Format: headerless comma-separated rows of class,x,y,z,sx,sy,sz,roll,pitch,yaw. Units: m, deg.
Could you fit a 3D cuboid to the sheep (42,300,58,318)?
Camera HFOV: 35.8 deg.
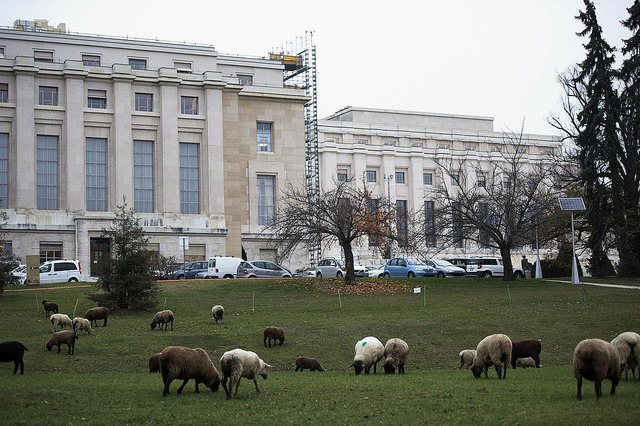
sheep,-17.914,6.331,65.599,0.888,1.141,1.425,0,-7,-15

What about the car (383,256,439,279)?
car,8.158,5.014,92.575,2.293,1.542,3.734,4,-11,-40

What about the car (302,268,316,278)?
car,-1.111,5.811,98.139,1.192,0.844,2.032,0,-7,-12

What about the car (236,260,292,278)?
car,-5.378,5.178,89.719,3.307,1.364,2.010,-2,-2,-14

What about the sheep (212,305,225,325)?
sheep,-6.643,6.583,64.188,0.653,1.231,1.070,-1,-7,-7

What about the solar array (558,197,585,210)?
solar array,22.636,-0.864,88.712,2.678,1.155,1.190,3,-8,-33

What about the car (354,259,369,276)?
car,4.616,6.079,111.889,2.158,1.501,4.595,0,-9,-1

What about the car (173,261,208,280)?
car,-11.940,5.329,92.078,2.823,1.416,1.706,2,-5,-4

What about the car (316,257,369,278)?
car,1.088,5.374,96.482,2.417,1.773,3.950,6,-11,-44

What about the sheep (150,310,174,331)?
sheep,-10.031,6.800,62.651,1.372,1.257,1.347,0,-7,-11

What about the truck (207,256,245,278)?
truck,-8.710,4.935,91.050,3.077,1.677,1.713,-2,-1,-22

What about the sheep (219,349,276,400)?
sheep,-3.985,8.244,50.928,2.359,2.495,1.329,1,-7,-16

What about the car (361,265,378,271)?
car,6.239,6.661,120.898,1.158,0.817,2.524,3,5,40

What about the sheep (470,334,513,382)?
sheep,9.122,7.757,52.700,1.523,2.288,3.421,7,-21,-14

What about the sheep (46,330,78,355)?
sheep,-14.806,7.416,56.795,1.602,1.362,0.997,-7,-9,37

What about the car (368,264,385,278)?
car,6.142,5.997,100.240,2.074,0.713,0.937,7,-12,-19

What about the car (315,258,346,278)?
car,1.130,5.224,96.013,2.546,1.248,1.583,-8,-9,40

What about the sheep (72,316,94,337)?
sheep,-14.608,6.888,60.939,0.643,0.930,1.807,1,-4,16

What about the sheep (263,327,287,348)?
sheep,-2.749,7.378,59.056,1.182,1.215,1.415,-4,-8,24

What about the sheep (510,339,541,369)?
sheep,10.918,7.654,54.006,2.755,1.609,0.667,-11,-12,39

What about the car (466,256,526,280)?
car,17.341,5.352,98.192,5.351,2.144,2.660,-2,0,-15
